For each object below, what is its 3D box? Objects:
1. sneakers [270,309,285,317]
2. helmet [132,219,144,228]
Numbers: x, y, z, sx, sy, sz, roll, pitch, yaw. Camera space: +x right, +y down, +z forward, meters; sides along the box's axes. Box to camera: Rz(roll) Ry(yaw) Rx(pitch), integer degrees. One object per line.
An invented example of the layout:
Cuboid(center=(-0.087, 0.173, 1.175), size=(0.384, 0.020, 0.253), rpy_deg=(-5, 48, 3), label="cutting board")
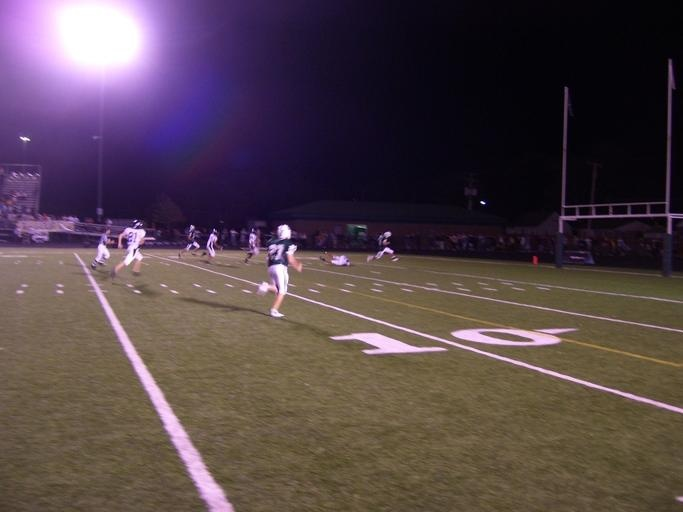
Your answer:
Cuboid(center=(-1.482, 1.283, 11.014), size=(0.429, 0.165, 0.130), rpy_deg=(5, 19, -12), label="sneakers")
Cuboid(center=(-7.687, -1.240, 18.643), size=(0.354, 0.223, 0.529), rpy_deg=(10, 9, -19), label="helmet")
